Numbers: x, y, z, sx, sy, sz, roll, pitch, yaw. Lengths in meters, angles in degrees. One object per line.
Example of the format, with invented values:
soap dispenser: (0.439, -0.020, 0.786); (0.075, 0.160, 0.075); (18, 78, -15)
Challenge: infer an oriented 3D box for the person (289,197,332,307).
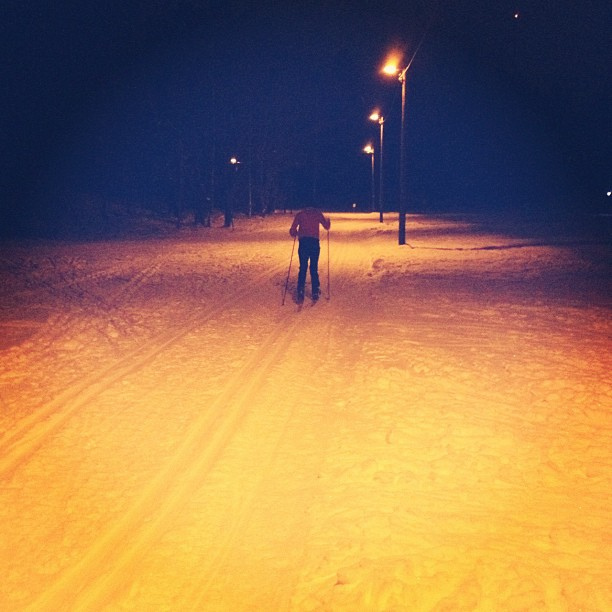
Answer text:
person: (0.091, -1.147, 12.002); (0.796, 2.158, 1.186); (-1, 10, 0)
